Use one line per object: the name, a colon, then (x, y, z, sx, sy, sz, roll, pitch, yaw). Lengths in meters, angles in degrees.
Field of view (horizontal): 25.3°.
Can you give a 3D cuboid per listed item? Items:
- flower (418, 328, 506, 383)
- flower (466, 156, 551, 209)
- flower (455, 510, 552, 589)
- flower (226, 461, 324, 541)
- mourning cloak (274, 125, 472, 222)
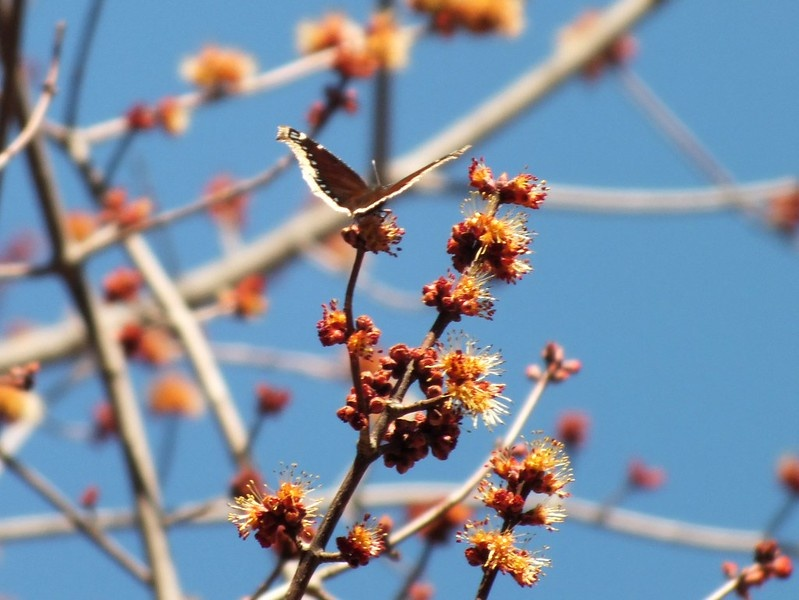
flower: (0.251, 0.221, 7.326, 0.310, 0.282, 0.194, -13, -63, -28)
flower: (0.484, -0.460, 7.397, 0.235, 0.109, 0.257, 0, -25, 38)
flower: (0.418, 1.012, 7.393, 0.294, 0.292, 0.199, -18, -87, -16)
flower: (-0.454, 0.802, 7.336, 0.224, 0.206, 0.203, 5, -77, 19)
mourning cloak: (-0.154, -0.551, 7.496, 0.323, 0.727, 0.301, -12, -106, 54)
